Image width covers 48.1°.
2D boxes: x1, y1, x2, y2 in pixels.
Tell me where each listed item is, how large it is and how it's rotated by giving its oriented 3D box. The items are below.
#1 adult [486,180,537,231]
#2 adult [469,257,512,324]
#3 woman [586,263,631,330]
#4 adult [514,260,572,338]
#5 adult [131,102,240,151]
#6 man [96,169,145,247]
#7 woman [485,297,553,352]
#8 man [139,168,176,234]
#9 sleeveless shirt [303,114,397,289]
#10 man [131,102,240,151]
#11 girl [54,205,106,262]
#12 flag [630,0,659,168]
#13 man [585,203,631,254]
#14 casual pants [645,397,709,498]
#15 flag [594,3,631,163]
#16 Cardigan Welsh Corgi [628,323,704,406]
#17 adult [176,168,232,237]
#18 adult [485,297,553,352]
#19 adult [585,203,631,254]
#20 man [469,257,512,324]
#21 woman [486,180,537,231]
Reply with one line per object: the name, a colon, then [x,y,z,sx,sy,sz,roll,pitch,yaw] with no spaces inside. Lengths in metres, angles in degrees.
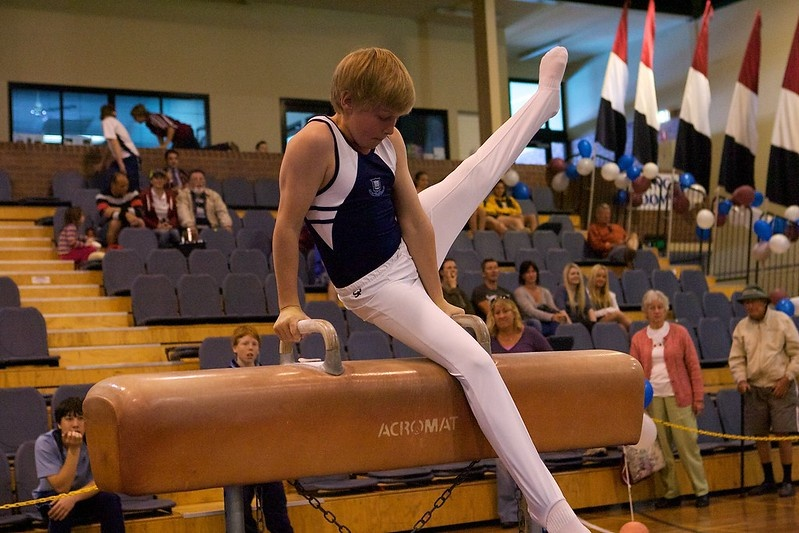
adult: [1.750,-0.910,14.606,0.525,0.813,1.305,-4,-2,-12]
adult: [1.209,0.326,11.318,0.503,0.899,0.576,-1,-9,-18]
woman: [2.788,0.547,11.827,0.435,1.170,0.794,-1,0,-30]
adult: [1.839,0.675,11.521,0.421,1.479,0.723,-6,-1,-27]
adult: [-3.768,-2.342,15.579,1.671,0.967,0.675,1,-7,-17]
man: [-3.993,-0.649,12.801,0.549,1.394,0.706,-2,7,-30]
woman: [1.181,0.629,9.688,0.853,0.659,0.432,-9,-3,24]
man: [-3.416,-0.892,12.793,0.470,1.039,0.522,-2,2,6]
sleeveless shirt: [-0.357,-0.561,6.867,0.723,1.285,0.716,-3,12,-4]
man: [-3.762,-2.348,15.610,1.696,1.014,0.638,1,-7,-16]
girl: [-4.311,-0.361,12.205,0.546,0.917,0.398,-2,-7,-14]
flag: [4.235,-3.180,15.437,0.394,2.870,0.612,0,2,16]
man: [3.408,-0.548,14.374,0.634,0.990,0.737,6,-3,-43]
casual pants: [3.113,2.015,9.999,0.569,1.111,0.353,-1,1,5]
flag: [3.643,-3.131,15.325,0.533,2.527,0.582,-1,2,16]
Cardigan Welsh Corgi: [2.879,1.084,9.675,0.660,0.912,0.418,-8,-2,20]
adult: [-2.869,-0.894,13.055,0.671,1.129,0.898,-7,-7,-15]
adult: [1.180,0.608,9.685,0.864,0.673,0.430,-6,7,26]
adult: [3.417,-0.539,14.376,0.724,0.993,0.624,0,-3,42]
man: [1.213,0.321,11.293,0.550,0.900,0.655,-7,-9,9]
woman: [1.760,-0.911,14.592,0.525,0.813,1.305,-4,-2,-12]
